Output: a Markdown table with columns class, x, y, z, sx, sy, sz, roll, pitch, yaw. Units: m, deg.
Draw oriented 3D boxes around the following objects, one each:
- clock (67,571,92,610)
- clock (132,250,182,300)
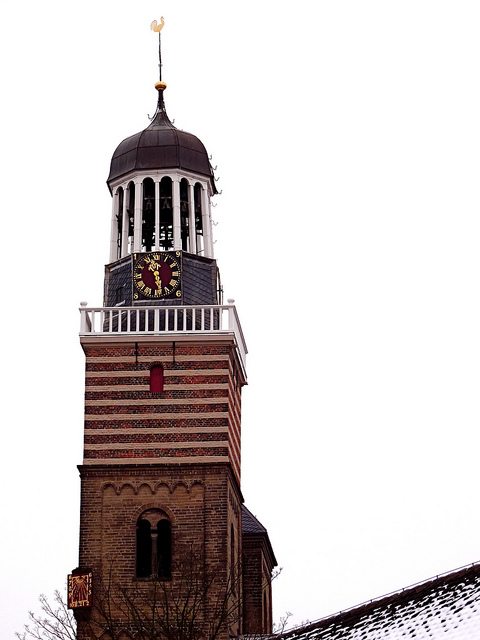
| class | x | y | z | sx | sy | sz | roll | pitch | yaw |
| --- | --- | --- | --- | --- | --- | --- | --- | --- | --- |
| clock | -4.405 | 7.280 | 36.439 | 0.706 | 0.997 | 0.302 | -10 | -39 | 8 |
| clock | -2.564 | -1.388 | 40.540 | 1.481 | 0.144 | 1.781 | -3 | -52 | -4 |
